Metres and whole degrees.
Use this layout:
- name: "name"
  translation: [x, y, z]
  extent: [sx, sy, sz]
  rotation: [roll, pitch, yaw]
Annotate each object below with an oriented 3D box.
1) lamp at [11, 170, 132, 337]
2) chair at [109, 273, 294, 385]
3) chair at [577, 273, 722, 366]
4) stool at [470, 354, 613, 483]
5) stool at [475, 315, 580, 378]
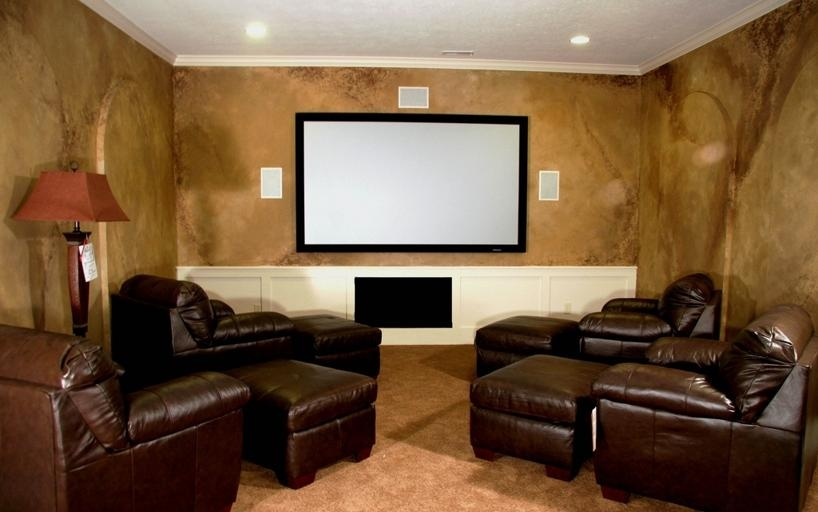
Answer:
- name: "lamp"
  translation: [-2.830, -0.021, 5.092]
  extent: [0.813, 1.426, 0.467]
  rotation: [-3, 6, -12]
- name: "chair"
  translation: [-1.940, 0.728, 5.797]
  extent: [1.306, 0.945, 1.272]
  rotation: [1, 2, 39]
- name: "chair"
  translation: [2.378, 0.627, 5.996]
  extent: [1.057, 0.678, 1.079]
  rotation: [-1, -1, 16]
- name: "stool"
  translation: [1.052, 1.220, 4.851]
  extent: [0.876, 0.559, 1.177]
  rotation: [1, 5, 29]
- name: "stool"
  translation: [1.361, 1.000, 6.245]
  extent: [1.178, 0.518, 1.110]
  rotation: [3, -5, -14]
